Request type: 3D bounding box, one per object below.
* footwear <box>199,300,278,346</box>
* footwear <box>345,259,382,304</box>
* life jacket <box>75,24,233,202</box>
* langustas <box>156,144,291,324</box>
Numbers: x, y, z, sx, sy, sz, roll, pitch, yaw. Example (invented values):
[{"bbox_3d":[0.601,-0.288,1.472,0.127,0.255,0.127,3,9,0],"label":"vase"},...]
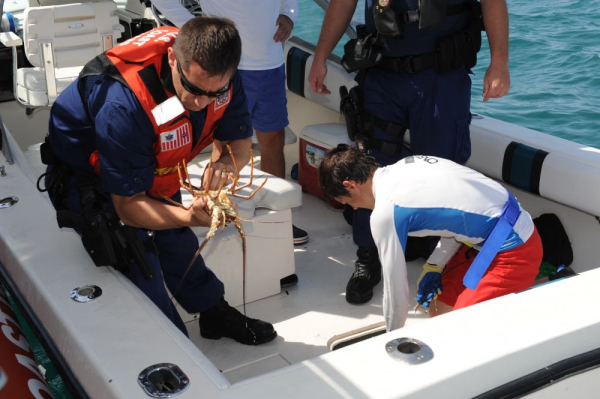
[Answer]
[{"bbox_3d":[-0.356,0.669,2.529,0.512,0.331,0.184,0,44,-5],"label":"footwear"},{"bbox_3d":[0.388,0.493,2.859,0.130,0.149,0.322,9,18,17],"label":"footwear"},{"bbox_3d":[-0.572,-0.321,1.839,0.472,0.697,0.510,37,48,5],"label":"life jacket"},{"bbox_3d":[-0.393,0.205,2.345,0.641,0.898,0.674,-18,30,-33],"label":"langustas"}]
